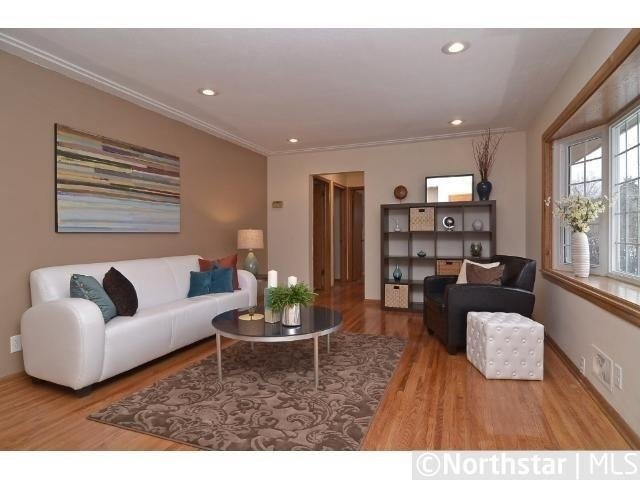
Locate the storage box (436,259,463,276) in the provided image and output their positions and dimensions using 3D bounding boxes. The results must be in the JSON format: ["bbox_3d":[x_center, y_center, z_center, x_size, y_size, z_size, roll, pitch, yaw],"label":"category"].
[{"bbox_3d":[1.840,0.389,6.088,0.385,0.338,0.215,0,-5,15],"label":"storage box"}]

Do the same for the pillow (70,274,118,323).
[{"bbox_3d":[-2.062,0.520,3.910,0.397,0.415,0.280,1,12,8],"label":"pillow"}]

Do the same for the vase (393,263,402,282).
[{"bbox_3d":[1.161,0.510,6.456,0.218,0.287,0.208,0,-5,0],"label":"vase"}]

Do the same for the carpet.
[{"bbox_3d":[-0.342,1.277,3.930,2.018,0.117,2.375,5,12,25],"label":"carpet"}]

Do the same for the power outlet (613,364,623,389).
[{"bbox_3d":[2.194,1.006,3.147,0.022,0.213,0.223,2,-1,26],"label":"power outlet"}]

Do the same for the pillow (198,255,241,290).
[{"bbox_3d":[-1.239,0.420,5.262,0.457,0.413,0.158,-2,-44,-10],"label":"pillow"}]

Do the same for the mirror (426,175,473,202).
[{"bbox_3d":[1.935,-0.749,6.291,0.485,0.313,0.017,0,-4,16],"label":"mirror"}]

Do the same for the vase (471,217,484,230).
[{"bbox_3d":[2.264,-0.225,6.103,0.160,0.174,0.155,3,-3,-7],"label":"vase"}]

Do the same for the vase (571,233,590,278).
[{"bbox_3d":[2.524,0.141,4.145,0.183,0.420,0.248,7,14,31],"label":"vase"}]

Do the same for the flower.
[{"bbox_3d":[2.552,-0.264,4.150,0.507,0.323,0.388,0,-5,6],"label":"flower"}]

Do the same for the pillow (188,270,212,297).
[{"bbox_3d":[-1.423,0.513,5.005,0.270,0.252,0.092,-8,-17,11],"label":"pillow"}]

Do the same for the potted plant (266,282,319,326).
[{"bbox_3d":[-0.267,0.607,4.051,0.409,0.325,0.395,0,-5,-3],"label":"potted plant"}]

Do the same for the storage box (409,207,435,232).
[{"bbox_3d":[1.499,-0.296,6.265,0.357,0.346,0.142,2,12,12],"label":"storage box"}]

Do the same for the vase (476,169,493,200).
[{"bbox_3d":[2.351,-0.798,6.125,0.185,0.443,0.340,4,13,20],"label":"vase"}]

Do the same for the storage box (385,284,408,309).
[{"bbox_3d":[1.144,0.834,6.297,0.387,0.335,0.184,-1,-3,23],"label":"storage box"}]

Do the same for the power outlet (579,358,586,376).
[{"bbox_3d":[2.277,1.107,3.711,0.022,0.201,0.183,2,-1,21],"label":"power outlet"}]

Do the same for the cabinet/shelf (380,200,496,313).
[{"bbox_3d":[1.663,0.221,5.893,1.784,1.564,0.477,0,-1,16],"label":"cabinet/shelf"}]

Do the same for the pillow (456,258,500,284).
[{"bbox_3d":[1.745,0.381,5.049,0.359,0.316,0.100,-2,15,-6],"label":"pillow"}]

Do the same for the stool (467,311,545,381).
[{"bbox_3d":[1.746,0.972,4.001,0.622,0.526,0.517,1,12,6],"label":"stool"}]
